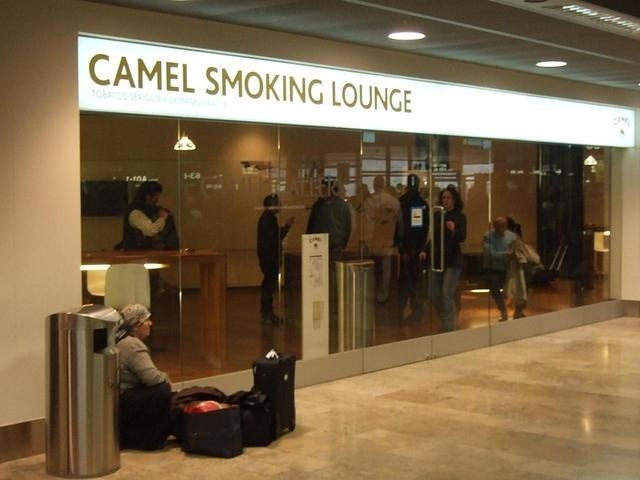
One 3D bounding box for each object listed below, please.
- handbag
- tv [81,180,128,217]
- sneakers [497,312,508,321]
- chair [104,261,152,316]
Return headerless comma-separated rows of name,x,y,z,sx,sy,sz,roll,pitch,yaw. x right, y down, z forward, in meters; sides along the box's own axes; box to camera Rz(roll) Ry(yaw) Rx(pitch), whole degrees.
handbag,-1.010,1.780,5.993,0.652,0.348,0.635,-3,-5,27
tv,-2.285,-0.450,6.440,0.344,0.320,0.119,-2,2,-39
sneakers,3.029,1.257,10.173,0.133,0.153,0.145,-2,-2,38
chair,-2.091,0.497,6.647,0.380,0.615,0.452,0,0,-19
